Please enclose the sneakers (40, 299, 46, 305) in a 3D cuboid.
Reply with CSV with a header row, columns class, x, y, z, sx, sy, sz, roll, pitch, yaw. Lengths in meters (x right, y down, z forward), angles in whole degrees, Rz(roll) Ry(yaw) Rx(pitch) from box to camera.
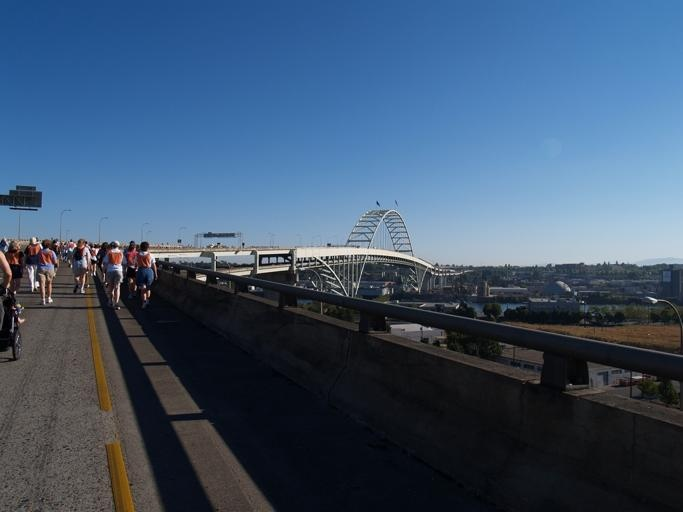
class,x,y,z,sx,sy,sz,roll,pitch,yaw
sneakers,-9.491,1.486,16.486,0.097,0.139,0.205,-3,33,-13
